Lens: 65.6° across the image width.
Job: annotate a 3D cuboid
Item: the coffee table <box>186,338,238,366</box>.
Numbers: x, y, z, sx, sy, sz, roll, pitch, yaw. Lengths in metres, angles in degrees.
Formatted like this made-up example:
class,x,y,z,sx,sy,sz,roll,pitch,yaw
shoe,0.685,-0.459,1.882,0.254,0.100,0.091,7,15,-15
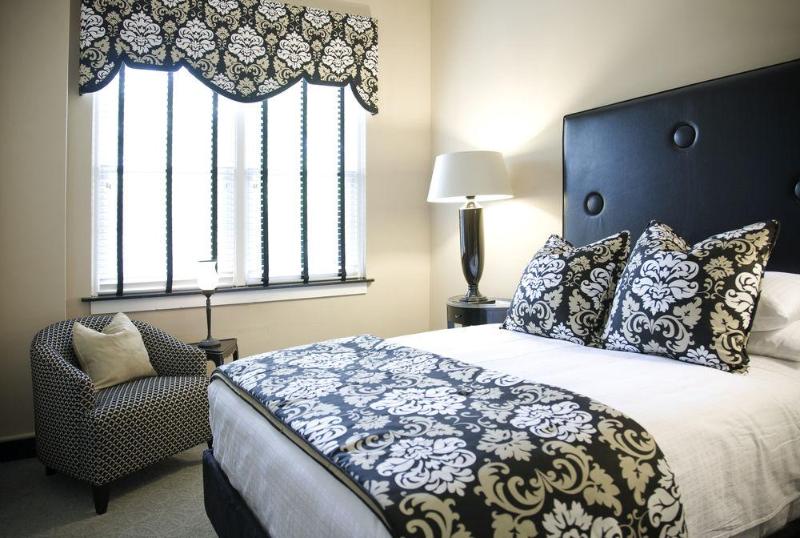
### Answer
class,x,y,z,sx,sy,sz,roll,pitch,yaw
coffee table,-1.254,0.522,4.167,0.200,0.279,0.279,1,4,7

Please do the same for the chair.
class,x,y,z,sx,sy,sz,roll,pitch,yaw
chair,-1.636,0.810,3.718,0.958,0.974,0.649,-5,6,-30
